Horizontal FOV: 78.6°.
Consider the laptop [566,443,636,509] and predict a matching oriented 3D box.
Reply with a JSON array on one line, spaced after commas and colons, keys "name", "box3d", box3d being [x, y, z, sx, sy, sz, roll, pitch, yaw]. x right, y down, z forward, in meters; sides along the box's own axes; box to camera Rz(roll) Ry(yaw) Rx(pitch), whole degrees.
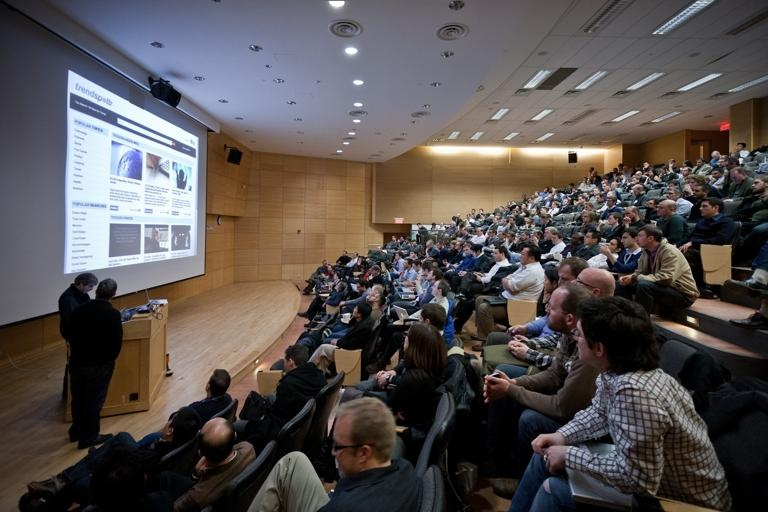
[{"name": "laptop", "box3d": [1.764, 1.785, 3.772, 0.398, 0.125, 0.554, 4, 20, 10]}]

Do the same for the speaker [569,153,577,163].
[{"name": "speaker", "box3d": [7.500, -3.899, 18.628, 0.222, 0.399, 0.392, 8, -1, 2]}]

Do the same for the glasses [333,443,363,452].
[{"name": "glasses", "box3d": [-0.295, 1.560, 3.821, 0.249, 0.072, 0.024, -1, 4, 9]}]

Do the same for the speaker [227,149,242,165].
[{"name": "speaker", "box3d": [-4.138, -2.749, 12.983, 0.241, 0.316, 0.465, 13, 10, 24]}]

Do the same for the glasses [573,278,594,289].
[{"name": "glasses", "box3d": [2.071, 0.282, 4.939, 0.163, 0.093, 0.243, -3, 4, -14]}]

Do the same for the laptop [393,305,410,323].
[{"name": "laptop", "box3d": [0.288, 0.869, 7.097, 0.212, 0.193, 0.283, -20, -10, -25]}]

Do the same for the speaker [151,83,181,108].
[{"name": "speaker", "box3d": [-4.131, -3.081, 8.898, 0.273, 0.384, 0.621, -1, 4, 15]}]
